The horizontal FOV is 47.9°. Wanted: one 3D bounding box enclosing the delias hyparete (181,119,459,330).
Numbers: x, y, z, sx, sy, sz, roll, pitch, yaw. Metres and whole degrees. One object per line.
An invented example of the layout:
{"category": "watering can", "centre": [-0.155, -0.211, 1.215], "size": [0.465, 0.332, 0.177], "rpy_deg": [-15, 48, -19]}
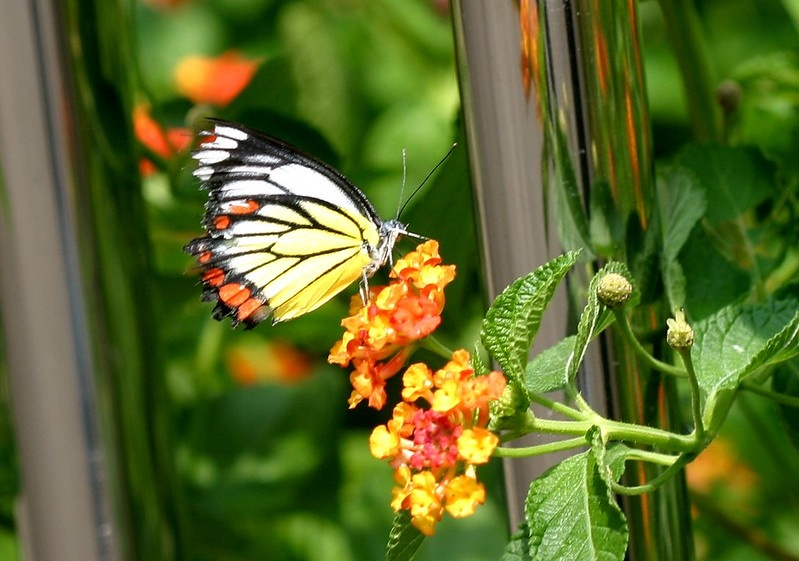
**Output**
{"category": "delias hyparete", "centre": [-0.110, -0.006, 1.527], "size": [0.399, 0.419, 0.344], "rpy_deg": [-8, 52, -2]}
